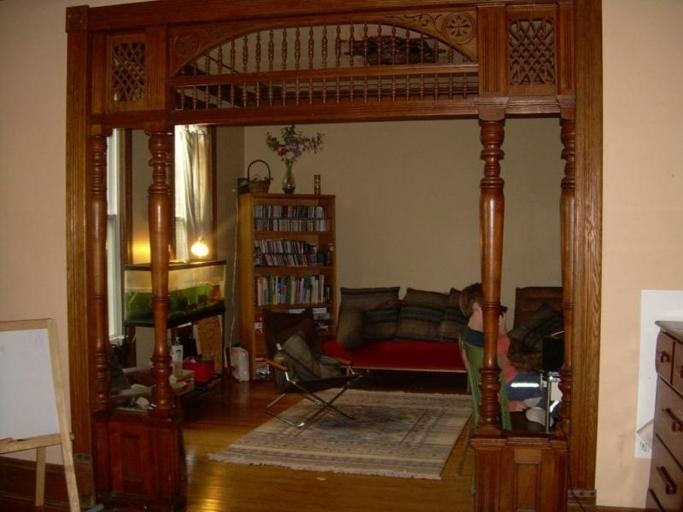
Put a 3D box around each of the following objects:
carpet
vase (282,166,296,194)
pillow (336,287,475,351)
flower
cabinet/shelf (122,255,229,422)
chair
[{"bbox_3d":[0.231,1.616,6.146,1.982,0.024,2.836,-1,0,18],"label":"carpet"},{"bbox_3d":[-0.664,-0.944,7.866,0.127,0.336,0.261,0,6,-2],"label":"vase"},{"bbox_3d":[0.746,0.724,7.690,1.367,0.687,0.605,-1,-40,5],"label":"pillow"},{"bbox_3d":[-0.605,-1.230,7.872,0.694,0.767,0.220,3,-16,4],"label":"flower"},{"bbox_3d":[-1.736,0.744,6.568,0.554,1.350,1.425,-8,-2,39],"label":"cabinet/shelf"},{"bbox_3d":[-0.358,1.158,6.129,1.054,1.029,0.806,4,-14,-5],"label":"chair"}]
